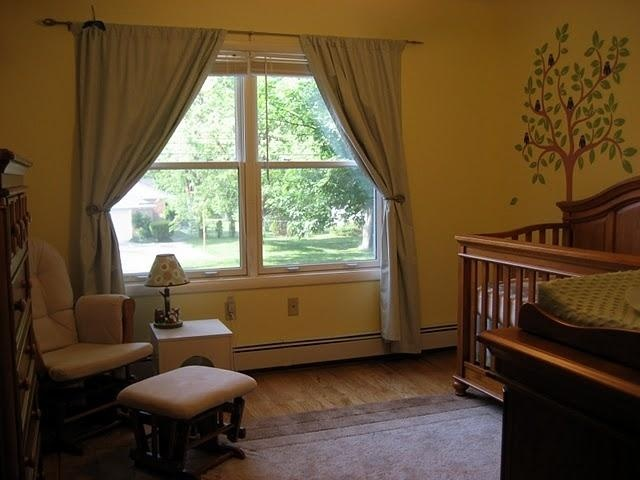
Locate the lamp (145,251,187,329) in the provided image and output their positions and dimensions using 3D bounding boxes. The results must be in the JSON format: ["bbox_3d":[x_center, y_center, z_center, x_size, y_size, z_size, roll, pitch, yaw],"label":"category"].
[{"bbox_3d":[-0.991,0.327,3.324,0.237,0.472,0.256,8,9,39],"label":"lamp"}]

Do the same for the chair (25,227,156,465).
[{"bbox_3d":[-1.411,0.533,2.861,0.806,1.054,0.754,-1,2,16],"label":"chair"}]
